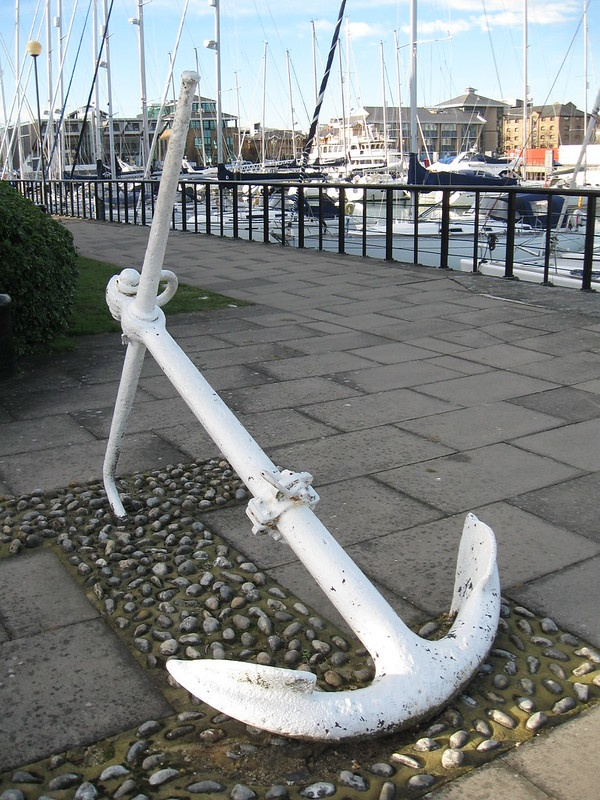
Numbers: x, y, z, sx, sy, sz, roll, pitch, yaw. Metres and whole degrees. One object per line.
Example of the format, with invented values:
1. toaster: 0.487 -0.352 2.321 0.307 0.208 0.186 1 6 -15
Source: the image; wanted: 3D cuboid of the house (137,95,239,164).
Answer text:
1. house: -13.867 -34.661 86.421 11.457 8.486 10.891 6 20 20
